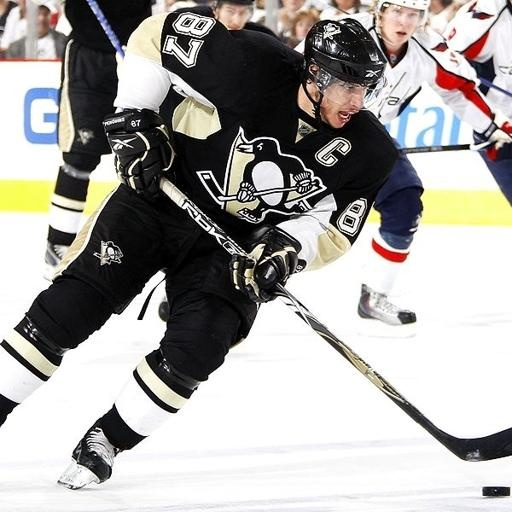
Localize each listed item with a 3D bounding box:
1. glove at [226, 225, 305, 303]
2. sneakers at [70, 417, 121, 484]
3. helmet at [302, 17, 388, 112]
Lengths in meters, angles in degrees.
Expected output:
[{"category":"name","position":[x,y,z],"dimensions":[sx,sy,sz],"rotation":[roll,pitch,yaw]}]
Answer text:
[{"category":"glove","position":[0.026,0.019,1.308],"dimensions":[0.139,0.175,0.080],"rotation":[42,-17,-15]},{"category":"sneakers","position":[-0.333,0.414,1.264],"dimensions":[0.056,0.067,0.149],"rotation":[43,16,-18]},{"category":"helmet","position":[0.197,-0.435,1.340],"dimensions":[0.197,0.206,0.190],"rotation":[16,26,-3]}]
